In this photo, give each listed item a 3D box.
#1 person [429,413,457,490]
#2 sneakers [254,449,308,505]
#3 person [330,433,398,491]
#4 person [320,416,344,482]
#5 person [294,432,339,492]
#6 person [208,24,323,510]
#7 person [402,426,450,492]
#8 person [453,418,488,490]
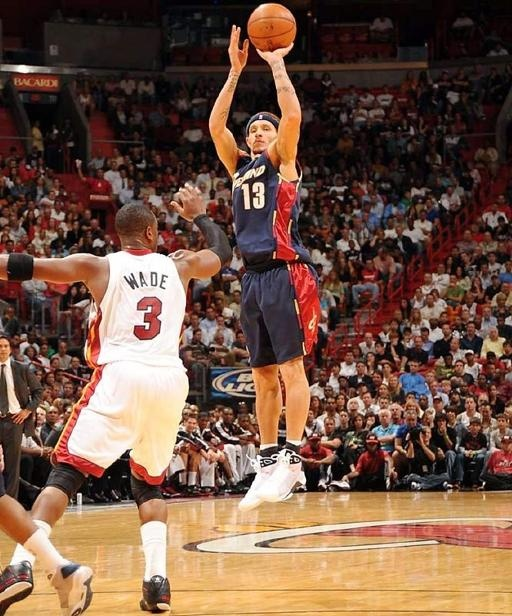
[{"bbox_3d":[2.521,1.906,11.006,0.403,0.857,0.292,0,4,0],"label":"person"},{"bbox_3d":[0.138,0.978,4.733,0.172,0.231,0.529,1,7,26],"label":"sneakers"},{"bbox_3d":[1.412,2.055,10.779,0.759,0.741,0.367,-1,-7,8],"label":"person"},{"bbox_3d":[1.046,1.953,11.219,0.291,0.816,0.221,-2,2,2],"label":"person"},{"bbox_3d":[0.770,2.066,11.007,0.563,0.716,0.596,1,-8,-15],"label":"person"},{"bbox_3d":[0.075,-0.270,4.955,0.800,2.770,0.515,-2,-1,43],"label":"person"},{"bbox_3d":[2.290,1.993,10.860,0.624,0.815,0.388,0,3,0],"label":"person"},{"bbox_3d":[2.865,1.946,10.873,0.422,0.924,0.321,0,3,9],"label":"person"}]
